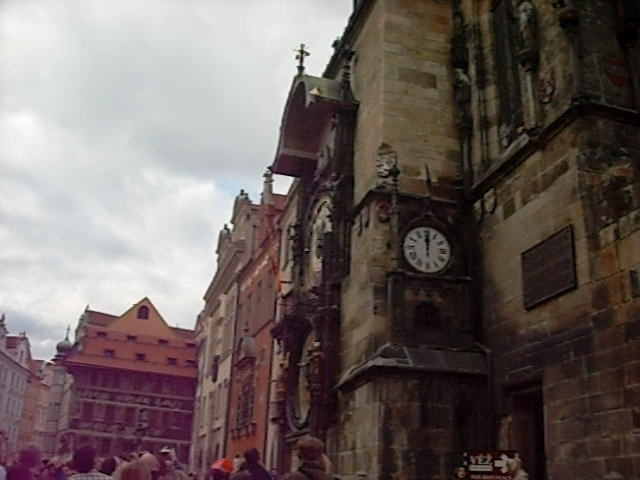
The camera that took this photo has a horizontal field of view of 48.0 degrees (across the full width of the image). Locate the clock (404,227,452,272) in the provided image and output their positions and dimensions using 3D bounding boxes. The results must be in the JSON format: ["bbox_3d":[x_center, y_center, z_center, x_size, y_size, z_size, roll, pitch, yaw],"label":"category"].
[{"bbox_3d":[2.638,0.277,17.895,1.125,1.113,0.128,0,-17,-7],"label":"clock"}]
